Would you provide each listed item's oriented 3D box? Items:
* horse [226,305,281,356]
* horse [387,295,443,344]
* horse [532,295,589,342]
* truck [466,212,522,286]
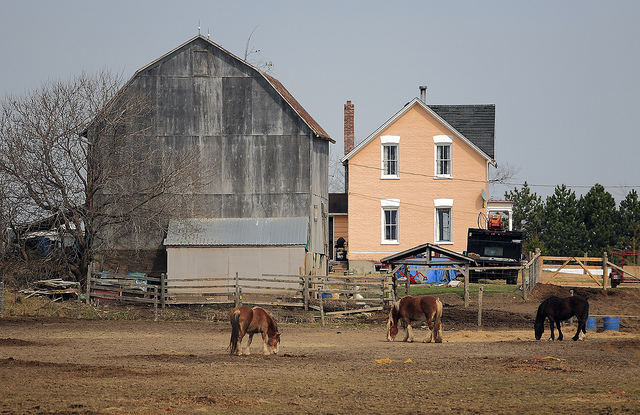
[{"bbox_3d":[-3.179,5.957,59.763,2.486,2.316,0.872,5,-7,-28],"label":"horse"},{"bbox_3d":[4.948,5.792,64.363,3.252,2.462,1.030,-5,-9,32],"label":"horse"},{"bbox_3d":[12.626,5.782,64.815,2.610,2.378,2.018,1,-6,12],"label":"horse"},{"bbox_3d":[11.382,2.659,81.049,3.589,4.615,3.594,1,-6,7],"label":"truck"}]
